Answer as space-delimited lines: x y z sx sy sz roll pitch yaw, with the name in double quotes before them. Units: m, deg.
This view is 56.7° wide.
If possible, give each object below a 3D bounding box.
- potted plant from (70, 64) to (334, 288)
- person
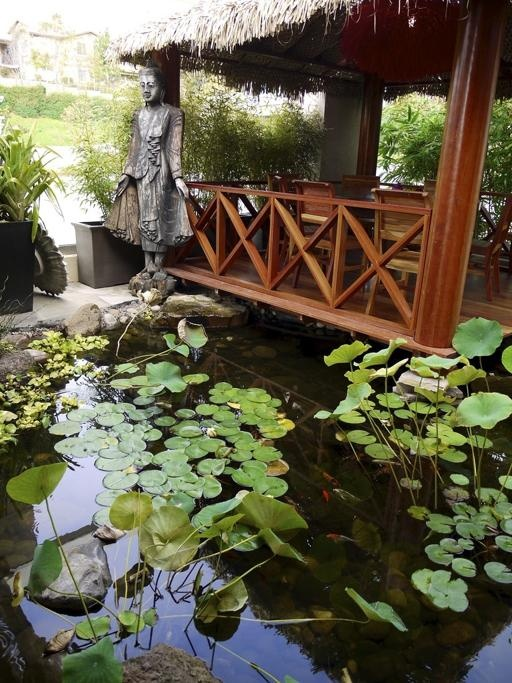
"potted plant" -0.806 -2.319 5.819 2.219 1.178 2.498 11 22 5
"person" -1.071 -1.803 4.836 0.851 1.759 0.230 5 17 10
